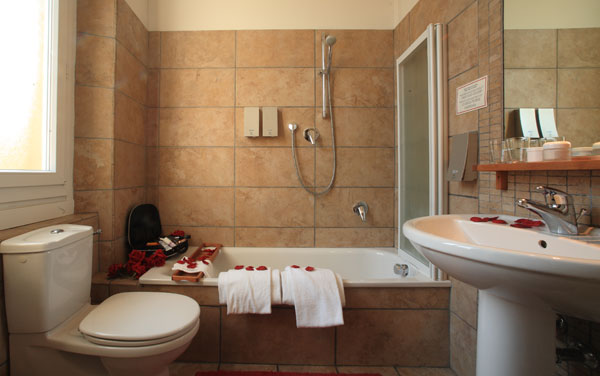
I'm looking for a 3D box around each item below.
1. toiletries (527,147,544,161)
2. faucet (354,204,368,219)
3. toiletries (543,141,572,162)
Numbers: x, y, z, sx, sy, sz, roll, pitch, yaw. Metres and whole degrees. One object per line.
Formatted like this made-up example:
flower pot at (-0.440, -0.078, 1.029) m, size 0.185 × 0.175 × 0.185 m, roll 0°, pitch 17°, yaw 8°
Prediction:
toiletries at (1.327, -0.191, 2.428) m, size 0.077 × 0.080 × 0.077 m, roll 2°, pitch 2°, yaw 36°
faucet at (0.544, 0.196, 3.731) m, size 0.109 × 0.130 × 0.040 m, roll -9°, pitch -1°, yaw -2°
toiletries at (1.412, -0.196, 2.359) m, size 0.116 × 0.095 × 0.113 m, roll 0°, pitch 0°, yaw 19°
